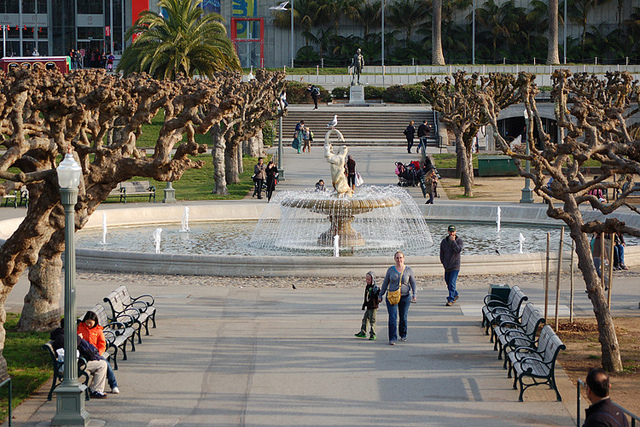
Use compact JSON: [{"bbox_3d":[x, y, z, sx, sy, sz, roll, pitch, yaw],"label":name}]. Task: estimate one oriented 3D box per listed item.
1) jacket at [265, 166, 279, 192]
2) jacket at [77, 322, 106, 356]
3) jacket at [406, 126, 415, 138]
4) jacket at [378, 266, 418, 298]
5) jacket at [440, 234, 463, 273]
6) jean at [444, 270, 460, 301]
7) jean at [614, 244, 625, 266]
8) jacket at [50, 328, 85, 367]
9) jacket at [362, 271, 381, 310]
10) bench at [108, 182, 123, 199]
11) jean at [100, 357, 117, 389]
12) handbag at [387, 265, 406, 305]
[{"bbox_3d":[-2.469,-1.720,75.827,0.568,1.332,1.183,-2,8,-3],"label":"jacket"},{"bbox_3d":[-8.623,4.626,56.338,1.175,1.176,0.721,7,12,-4],"label":"jacket"},{"bbox_3d":[5.308,-4.739,88.430,0.639,0.900,0.520,1,0,-3],"label":"jacket"},{"bbox_3d":[3.003,2.689,58.454,1.211,1.076,0.457,1,-8,-5],"label":"jacket"},{"bbox_3d":[5.260,1.598,60.524,0.864,1.459,0.517,-2,8,2],"label":"jacket"},{"bbox_3d":[5.290,2.854,60.668,0.529,1.275,0.704,-1,8,5],"label":"jean"},{"bbox_3d":[12.483,1.753,63.412,0.601,0.897,0.209,-8,10,-37],"label":"jean"},{"bbox_3d":[-9.403,4.935,56.131,1.216,1.624,1.181,-1,5,0],"label":"jacket"},{"bbox_3d":[1.965,2.950,57.965,0.716,1.457,0.396,-2,7,1],"label":"jacket"},{"bbox_3d":[-10.328,-1.127,76.372,0.653,0.660,0.548,-2,-8,10],"label":"bench"},{"bbox_3d":[-7.800,5.939,55.996,0.641,0.976,0.338,3,5,41],"label":"jean"},{"bbox_3d":[2.912,2.745,57.957,0.679,1.423,0.382,-2,7,2],"label":"handbag"}]
